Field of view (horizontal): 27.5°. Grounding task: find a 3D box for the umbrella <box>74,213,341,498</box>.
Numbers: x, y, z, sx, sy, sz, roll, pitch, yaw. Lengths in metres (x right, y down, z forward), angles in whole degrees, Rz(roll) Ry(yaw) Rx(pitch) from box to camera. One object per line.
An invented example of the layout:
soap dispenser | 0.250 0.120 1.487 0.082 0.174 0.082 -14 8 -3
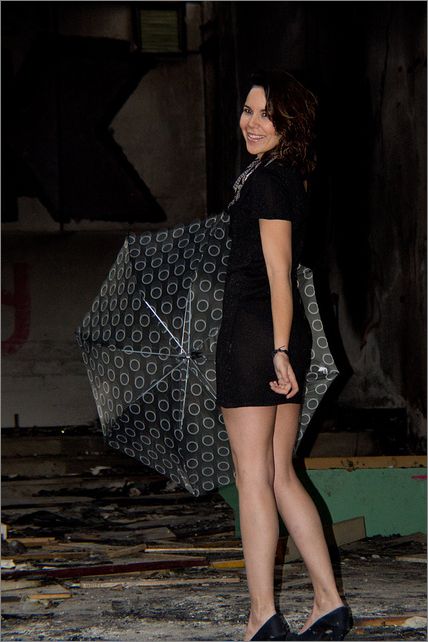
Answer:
umbrella | -0.124 0.154 3.398 1.156 1.062 0.369 -27 8 -38

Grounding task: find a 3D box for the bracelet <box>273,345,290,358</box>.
bracelet | 0.191 0.089 2.513 0.034 0.018 0.043 -4 5 3
